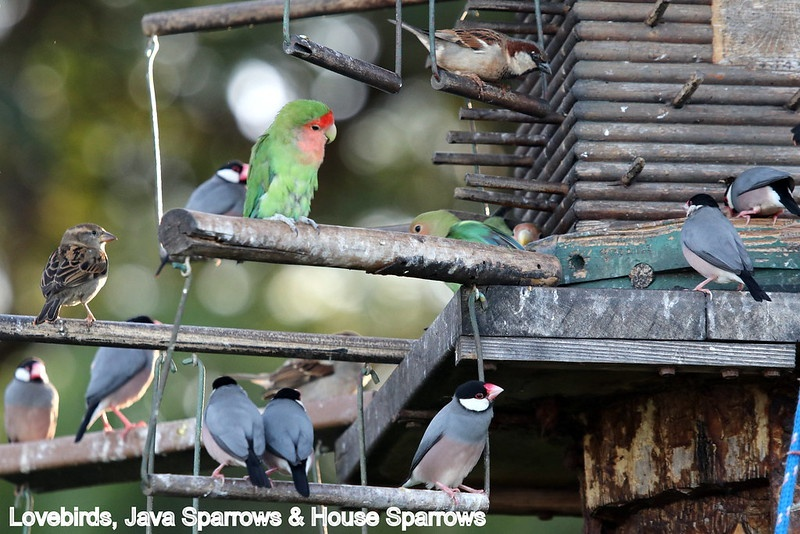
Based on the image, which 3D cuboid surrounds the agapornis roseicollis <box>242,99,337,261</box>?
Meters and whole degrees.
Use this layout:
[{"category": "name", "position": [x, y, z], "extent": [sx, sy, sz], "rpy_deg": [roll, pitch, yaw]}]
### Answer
[{"category": "agapornis roseicollis", "position": [-0.953, -0.793, 11.492], "extent": [1.124, 1.177, 0.565], "rpy_deg": [12, 15, 39]}]

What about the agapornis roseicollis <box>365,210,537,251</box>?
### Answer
[{"category": "agapornis roseicollis", "position": [0.524, -0.211, 11.591], "extent": [1.249, 0.537, 0.421], "rpy_deg": [-6, 6, -21]}]

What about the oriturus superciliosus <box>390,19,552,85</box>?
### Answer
[{"category": "oriturus superciliosus", "position": [0.506, -1.744, 11.776], "extent": [1.330, 0.527, 0.409], "rpy_deg": [19, -10, 7]}]
